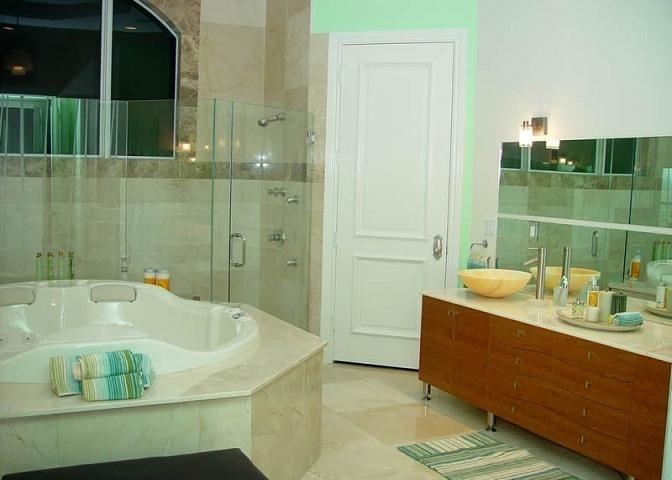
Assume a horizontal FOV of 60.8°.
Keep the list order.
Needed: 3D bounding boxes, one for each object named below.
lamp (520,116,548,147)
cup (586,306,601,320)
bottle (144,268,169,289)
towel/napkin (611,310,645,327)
[{"bbox_3d":[1.478,-0.804,4.245,0.080,0.221,0.236,-4,5,-38],"label":"lamp"},{"bbox_3d":[1.580,0.451,3.517,0.077,0.089,0.079,2,3,0],"label":"cup"},{"bbox_3d":[-1.336,0.282,4.283,0.223,0.218,0.127,0,-2,31],"label":"bottle"},{"bbox_3d":[1.747,0.460,3.457,0.116,0.046,0.109,-1,-1,-23],"label":"towel/napkin"}]
